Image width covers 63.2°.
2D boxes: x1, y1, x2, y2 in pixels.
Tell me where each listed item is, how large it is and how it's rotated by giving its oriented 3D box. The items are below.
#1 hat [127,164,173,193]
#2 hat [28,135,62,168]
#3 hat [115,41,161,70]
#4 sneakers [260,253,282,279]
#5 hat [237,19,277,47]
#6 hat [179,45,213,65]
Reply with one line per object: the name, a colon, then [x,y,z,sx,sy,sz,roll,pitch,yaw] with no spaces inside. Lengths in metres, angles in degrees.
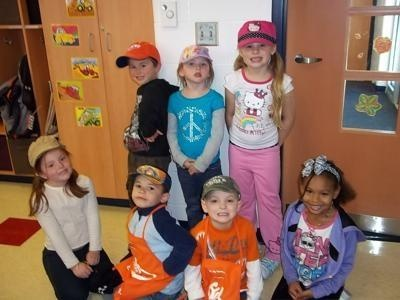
hat: [-0.260,0.167,1.913,0.190,0.101,0.256,1,-28,25]
hat: [-0.973,0.005,2.012,0.181,0.186,0.238,-14,20,-36]
hat: [-0.447,-0.661,2.253,0.251,0.135,0.182,2,-3,-43]
sneakers: [0.456,0.783,2.151,0.065,0.073,0.184,0,1,24]
hat: [0.354,-0.728,2.029,0.232,0.165,0.134,0,16,7]
hat: [-0.034,-0.629,2.135,0.208,0.114,0.118,-2,16,-1]
